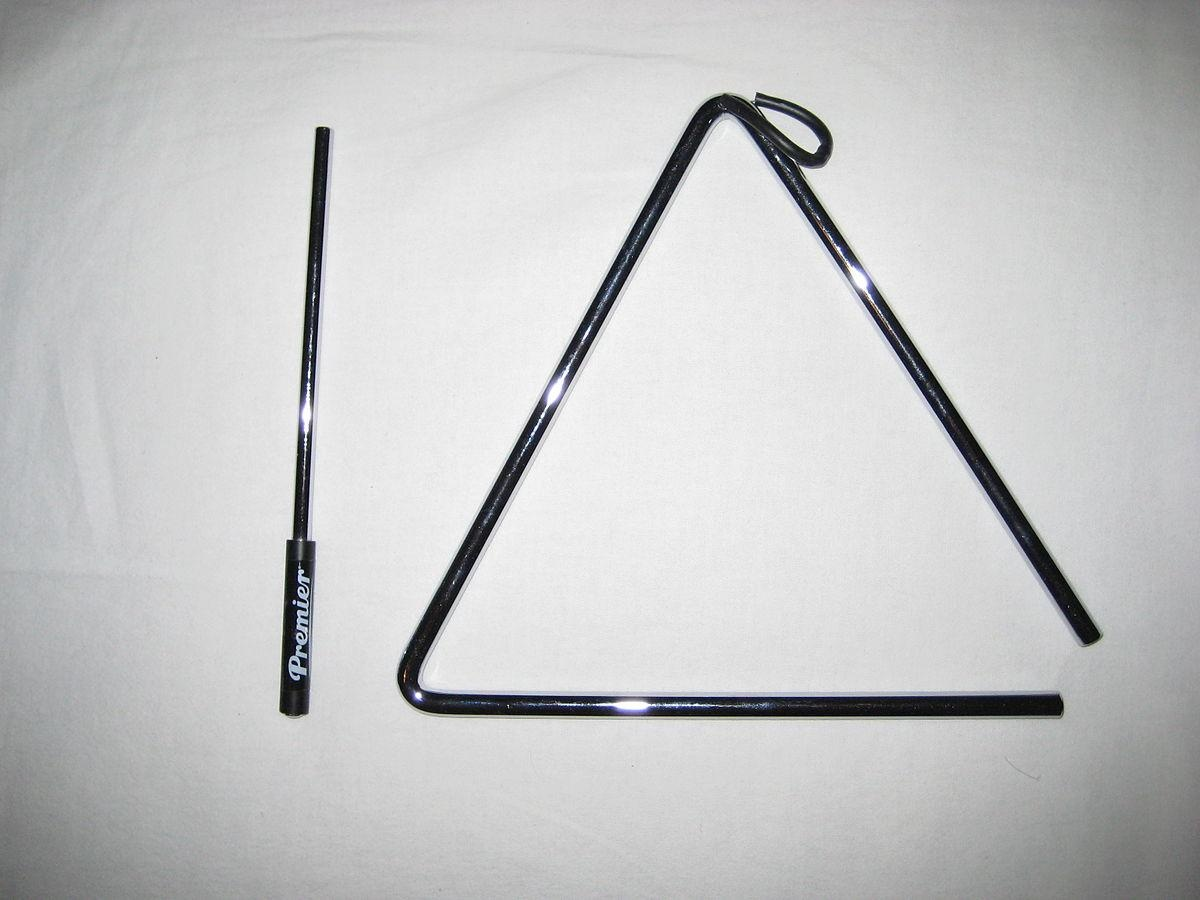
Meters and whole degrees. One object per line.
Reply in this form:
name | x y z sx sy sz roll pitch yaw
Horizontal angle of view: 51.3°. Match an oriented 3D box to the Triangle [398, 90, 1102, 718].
Triangle | 0.342 0.212 2.307 1.112 0.183 1.251 33 -86 -4
